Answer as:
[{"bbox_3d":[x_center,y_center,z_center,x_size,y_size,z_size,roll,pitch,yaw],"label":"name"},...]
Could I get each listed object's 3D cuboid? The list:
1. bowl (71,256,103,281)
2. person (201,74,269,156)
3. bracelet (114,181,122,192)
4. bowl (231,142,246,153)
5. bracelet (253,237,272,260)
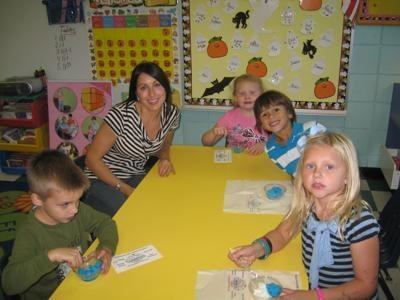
[{"bbox_3d":[-0.534,0.579,1.536,0.092,0.080,0.108,9,13,23],"label":"bowl"},{"bbox_3d":[0.360,-0.374,3.153,0.693,0.962,0.644,4,48,8],"label":"person"},{"bbox_3d":[-0.660,0.290,2.542,0.055,0.056,0.097,16,2,-1],"label":"bracelet"},{"bbox_3d":[0.317,-0.025,2.730,0.077,0.050,0.079,-1,19,0],"label":"bowl"},{"bbox_3d":[0.314,0.494,1.603,0.074,0.057,0.101,-5,52,27],"label":"bracelet"}]
